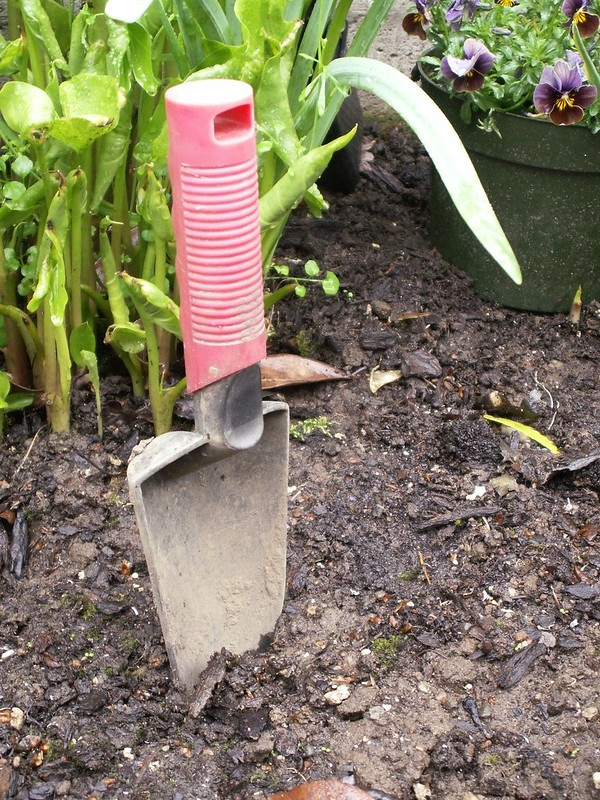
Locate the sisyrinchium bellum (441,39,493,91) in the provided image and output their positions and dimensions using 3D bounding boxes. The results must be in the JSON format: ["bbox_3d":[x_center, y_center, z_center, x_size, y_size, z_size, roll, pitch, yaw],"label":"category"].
[{"bbox_3d":[0.319,-0.647,1.620,0.095,0.103,0.151,8,35,7],"label":"sisyrinchium bellum"}]

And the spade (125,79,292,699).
[{"bbox_3d":[-0.121,0.039,1.092,0.256,0.854,0.134,-27,46,-34],"label":"spade"}]

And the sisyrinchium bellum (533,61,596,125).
[{"bbox_3d":[0.479,-0.558,1.533,0.115,0.118,0.047,2,39,11],"label":"sisyrinchium bellum"}]
